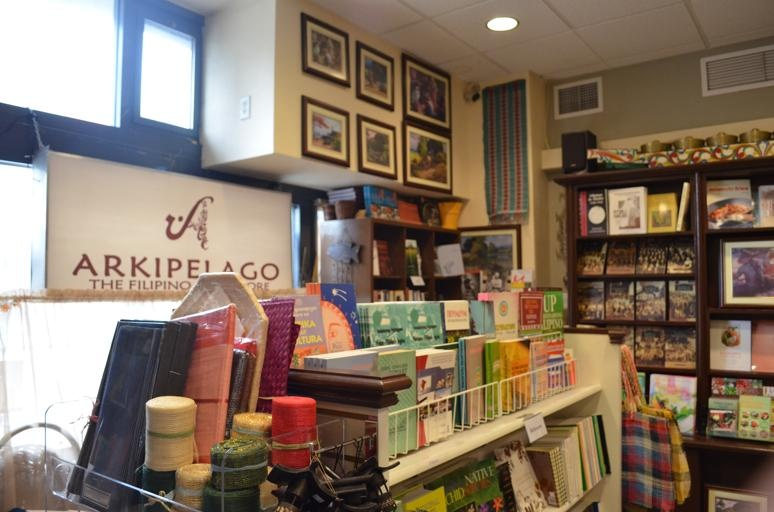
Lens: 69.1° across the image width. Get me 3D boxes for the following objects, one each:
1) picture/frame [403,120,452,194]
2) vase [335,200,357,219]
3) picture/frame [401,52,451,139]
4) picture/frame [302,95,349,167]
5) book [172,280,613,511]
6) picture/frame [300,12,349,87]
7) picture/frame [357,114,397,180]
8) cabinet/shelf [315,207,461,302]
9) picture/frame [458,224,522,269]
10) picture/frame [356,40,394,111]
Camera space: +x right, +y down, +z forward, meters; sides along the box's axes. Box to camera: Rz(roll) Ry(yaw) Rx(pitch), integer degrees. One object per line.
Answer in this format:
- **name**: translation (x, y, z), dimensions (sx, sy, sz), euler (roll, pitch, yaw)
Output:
- **picture/frame**: translation (0.405, -0.931, 5.430), dimensions (0.700, 0.583, 0.023), euler (3, -4, -45)
- **vase**: translation (-0.378, -0.422, 5.106), dimensions (0.134, 0.189, 0.056), euler (2, 2, 2)
- **picture/frame**: translation (0.352, -1.526, 5.357), dimensions (0.055, 0.650, 0.766), euler (-7, -9, 39)
- **picture/frame**: translation (-0.504, -0.980, 4.454), dimensions (0.041, 0.527, 0.561), euler (-9, -12, 41)
- **book**: translation (0.059, 0.564, 2.223), dimensions (0.817, 0.834, 1.296), euler (-5, -5, 36)
- **picture/frame**: translation (-0.513, -1.629, 4.467), dimensions (0.040, 0.579, 0.618), euler (-8, -10, 41)
- **picture/frame**: translation (-0.102, -0.940, 4.887), dimensions (0.038, 0.550, 0.552), euler (-7, -9, 40)
- **cabinet/shelf**: translation (-0.074, -0.062, 5.370), dimensions (0.375, 0.698, 1.134), euler (9, 11, 32)
- **picture/frame**: translation (1.079, -0.088, 5.738), dimensions (0.446, 0.376, 0.034), euler (2, 2, 38)
- **picture/frame**: translation (-0.121, -1.549, 4.873), dimensions (0.046, 0.645, 0.647), euler (-5, -7, 39)
